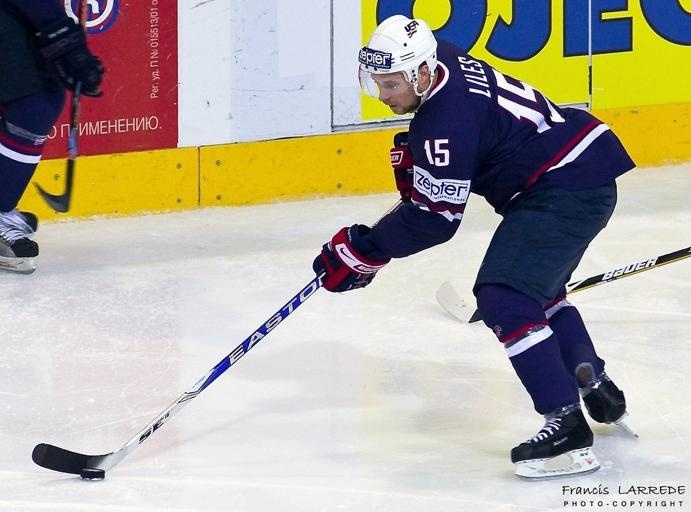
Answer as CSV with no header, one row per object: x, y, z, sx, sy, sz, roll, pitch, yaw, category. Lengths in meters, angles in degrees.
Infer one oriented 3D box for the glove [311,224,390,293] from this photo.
-0.010,0.021,2.589,0.250,0.100,0.160,-26,46,16,glove

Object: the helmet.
0.155,-0.573,2.415,0.248,0.182,0.194,-17,31,-16,helmet

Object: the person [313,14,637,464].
0.473,-0.074,2.438,0.691,1.107,0.949,-25,37,-37,person

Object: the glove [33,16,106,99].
-1.186,-0.830,3.587,0.214,0.356,0.109,-41,21,-7,glove

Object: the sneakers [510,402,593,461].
0.552,0.478,2.330,0.311,0.121,0.092,-2,2,-33,sneakers
